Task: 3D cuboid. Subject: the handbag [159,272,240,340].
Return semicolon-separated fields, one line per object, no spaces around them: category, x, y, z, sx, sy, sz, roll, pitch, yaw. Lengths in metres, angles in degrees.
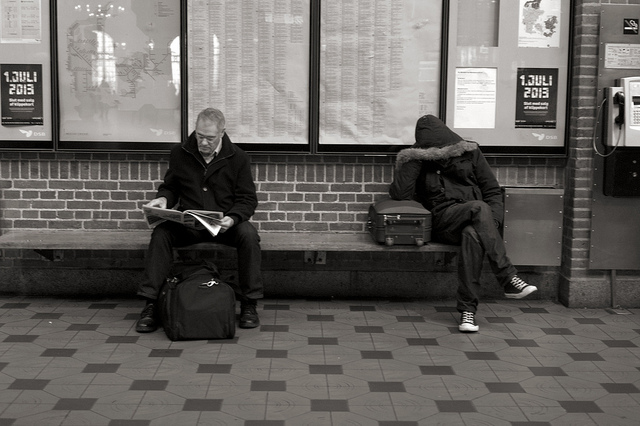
handbag;-1.163;0.866;6.258;0.793;0.442;0.772;1;-1;-12

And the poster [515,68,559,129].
poster;2.455;-1.309;7.269;0.458;0.662;0.155;2;18;0

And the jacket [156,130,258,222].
jacket;-1.200;-0.401;6.834;1.222;0.806;0.561;8;33;16

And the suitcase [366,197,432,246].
suitcase;0.832;0.086;6.901;0.679;0.260;0.570;0;5;-1

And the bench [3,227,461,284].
bench;0.157;0.482;7.663;5.291;0.657;0.346;2;-17;-1

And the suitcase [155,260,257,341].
suitcase;-1.227;0.846;6.310;0.718;0.650;0.606;-2;16;-11

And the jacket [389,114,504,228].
jacket;1.287;-0.454;7.115;1.420;1.164;0.656;-8;-1;-15
